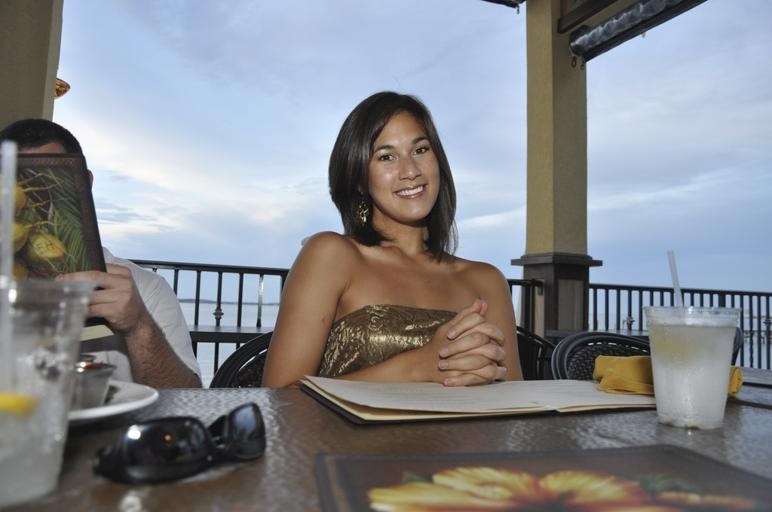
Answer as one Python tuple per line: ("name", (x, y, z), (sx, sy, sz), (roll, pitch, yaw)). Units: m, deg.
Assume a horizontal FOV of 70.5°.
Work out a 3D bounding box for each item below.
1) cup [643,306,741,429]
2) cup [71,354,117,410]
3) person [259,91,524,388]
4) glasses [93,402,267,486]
("cup", (0.591, 0.230, 1.190), (0.205, 0.234, 0.212), (1, -4, 0))
("cup", (-0.518, 0.218, 0.990), (0.091, 0.105, 0.078), (8, -6, -39))
("person", (0.076, -0.108, 1.979), (0.780, 1.056, 1.173), (2, 6, 13))
("glasses", (-0.328, 0.305, 0.886), (0.260, 0.096, 0.065), (-1, 6, -23))
